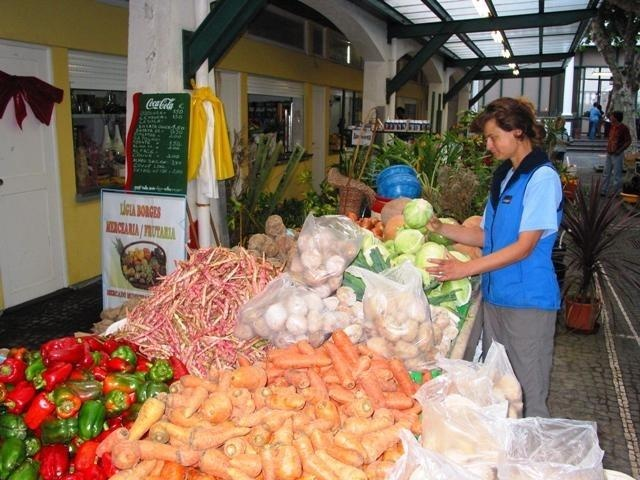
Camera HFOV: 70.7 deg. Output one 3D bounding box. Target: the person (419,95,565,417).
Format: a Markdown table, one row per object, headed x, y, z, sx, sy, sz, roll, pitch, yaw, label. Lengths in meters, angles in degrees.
| x | y | z | sx | sy | sz | roll | pitch | yaw | label |
| --- | --- | --- | --- | --- | --- | --- | --- | --- | --- |
| 1.158 | 0.035 | 2.789 | 0.643 | 2.430 | 1.076 | 3 | 10 | 14 | person |

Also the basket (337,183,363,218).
| x | y | z | sx | sy | sz | roll | pitch | yaw | label |
| --- | --- | --- | --- | --- | --- | --- | --- | --- | --- |
| 6.531 | -2.823 | 12.727 | 0.600 | 1.113 | 0.631 | 10 | 26 | 24 | basket |

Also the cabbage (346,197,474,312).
| x | y | z | sx | sy | sz | roll | pitch | yaw | label |
| --- | --- | --- | --- | --- | --- | --- | --- | --- | --- |
| 0.562 | 0.078 | 2.904 | 0.722 | 0.796 | 0.621 | -4 | 10 | -8 | cabbage |

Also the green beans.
| x | y | z | sx | sy | sz | roll | pitch | yaw | label |
| --- | --- | --- | --- | --- | --- | --- | --- | --- | --- |
| -0.612 | 0.305 | 2.328 | 0.601 | 0.669 | 0.251 | 29 | -18 | 8 | green beans |

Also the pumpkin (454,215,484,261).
| x | y | z | sx | sy | sz | roll | pitch | yaw | label |
| --- | --- | --- | --- | --- | --- | --- | --- | --- | --- |
| 1.197 | -0.030 | 3.636 | 0.133 | 0.345 | 0.313 | 23 | -33 | -26 | pumpkin |

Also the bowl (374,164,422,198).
| x | y | z | sx | sy | sz | roll | pitch | yaw | label |
| --- | --- | --- | --- | --- | --- | --- | --- | --- | --- |
| 0.796 | -0.591 | 4.538 | 0.426 | 0.315 | 0.358 | 2 | 16 | 2 | bowl |
